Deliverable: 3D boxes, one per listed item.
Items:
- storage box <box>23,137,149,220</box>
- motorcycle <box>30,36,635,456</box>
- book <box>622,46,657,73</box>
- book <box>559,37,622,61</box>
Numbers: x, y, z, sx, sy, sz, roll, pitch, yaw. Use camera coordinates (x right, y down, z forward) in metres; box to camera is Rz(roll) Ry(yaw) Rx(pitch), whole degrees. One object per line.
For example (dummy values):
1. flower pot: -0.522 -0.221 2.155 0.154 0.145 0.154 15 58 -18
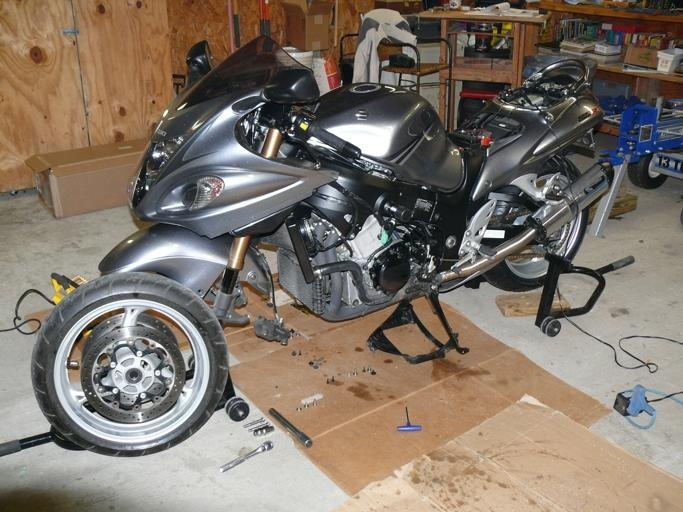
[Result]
1. storage box: -2.391 -0.609 4.862 1.150 0.316 0.599 -14 12 -32
2. motorcycle: 0.002 -0.141 2.546 3.011 1.715 0.722 -11 29 -23
3. book: 3.410 -2.231 5.825 0.246 0.252 0.446 -5 23 -42
4. book: 3.160 -2.647 6.558 0.538 0.105 0.566 19 24 40
